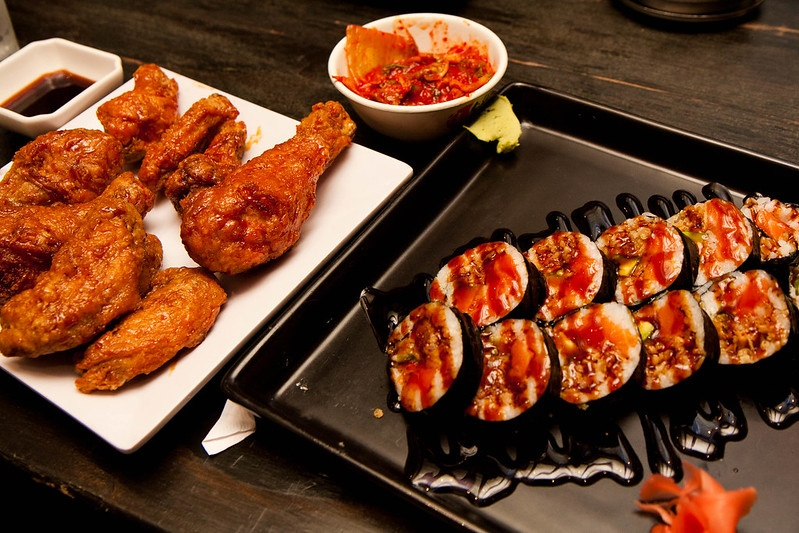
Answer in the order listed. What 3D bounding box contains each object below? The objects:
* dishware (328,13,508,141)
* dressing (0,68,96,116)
[{"bbox_3d":[0.109,-0.962,3.774,0.764,0.299,0.778,3,50,9],"label":"dishware"},{"bbox_3d":[-1.986,-0.978,4.163,0.344,0.082,0.355,24,58,29],"label":"dressing"}]
